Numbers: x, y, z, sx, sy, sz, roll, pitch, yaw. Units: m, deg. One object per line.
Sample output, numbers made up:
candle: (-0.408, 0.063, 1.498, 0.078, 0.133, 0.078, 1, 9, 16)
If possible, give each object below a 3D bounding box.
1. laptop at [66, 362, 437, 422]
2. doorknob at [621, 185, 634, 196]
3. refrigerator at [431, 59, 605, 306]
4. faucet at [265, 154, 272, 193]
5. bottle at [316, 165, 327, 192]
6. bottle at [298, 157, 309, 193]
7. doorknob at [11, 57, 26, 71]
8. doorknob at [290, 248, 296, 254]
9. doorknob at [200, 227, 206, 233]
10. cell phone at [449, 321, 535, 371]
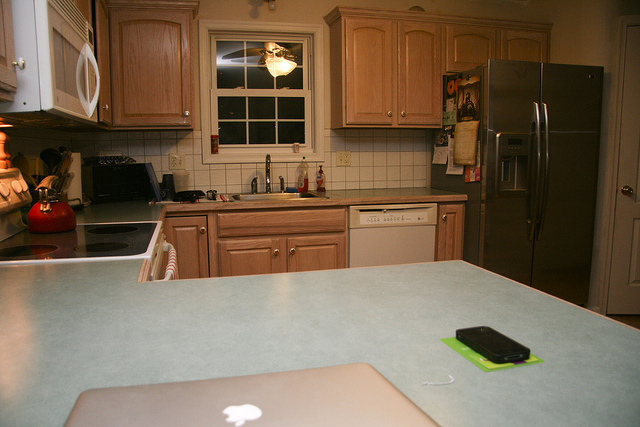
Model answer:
laptop: (-0.155, 0.424, 1.071, 0.796, 0.061, 0.180, -2, 10, -7)
doorknob: (2.490, -0.182, 3.852, 0.103, 0.087, 0.028, -2, 10, -11)
refrigerator: (1.510, -0.056, 4.015, 1.140, 2.137, 0.893, -2, 6, -14)
faucet: (-0.425, -0.320, 3.864, 0.032, 0.309, 0.030, -2, 10, -8)
bottle: (0.012, -0.290, 4.034, 0.084, 0.205, 0.180, 1, 10, 8)
bottle: (-0.145, -0.323, 3.988, 0.083, 0.274, 0.183, -1, 10, -2)
doorknob: (-1.187, -0.588, 1.864, 0.023, 0.046, 0.065, 1, 10, 10)
doorknob: (-0.194, 0.268, 3.361, 0.038, 0.044, 0.015, -6, 11, -31)
doorknob: (-0.798, 0.116, 3.236, 0.037, 0.036, 0.019, -2, 10, -9)
cell phone: (0.442, 0.333, 1.239, 0.090, 0.020, 0.152, -4, 10, -15)
